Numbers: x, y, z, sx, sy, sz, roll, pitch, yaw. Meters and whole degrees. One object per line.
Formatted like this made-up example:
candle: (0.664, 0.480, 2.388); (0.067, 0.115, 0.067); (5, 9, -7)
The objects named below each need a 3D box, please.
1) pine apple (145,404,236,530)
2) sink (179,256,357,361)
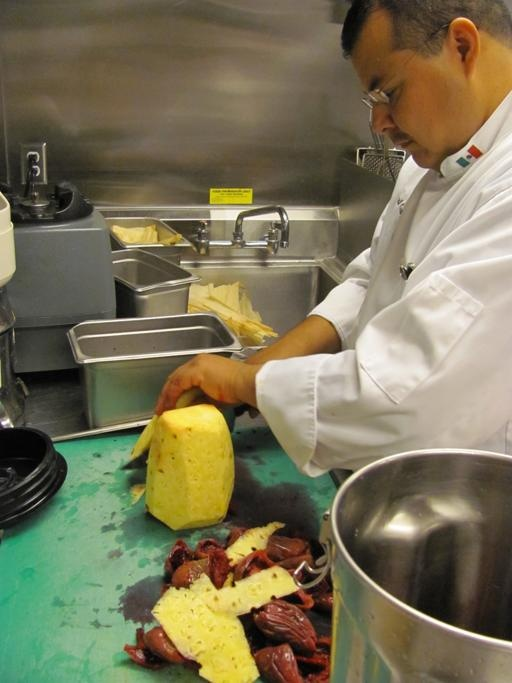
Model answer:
pine apple: (-0.096, 0.193, 0.817); (0.144, 0.136, 0.206); (-6, 18, -25)
sink: (0.057, -0.057, 1.958); (0.660, 0.406, 0.312); (-4, 29, -8)
